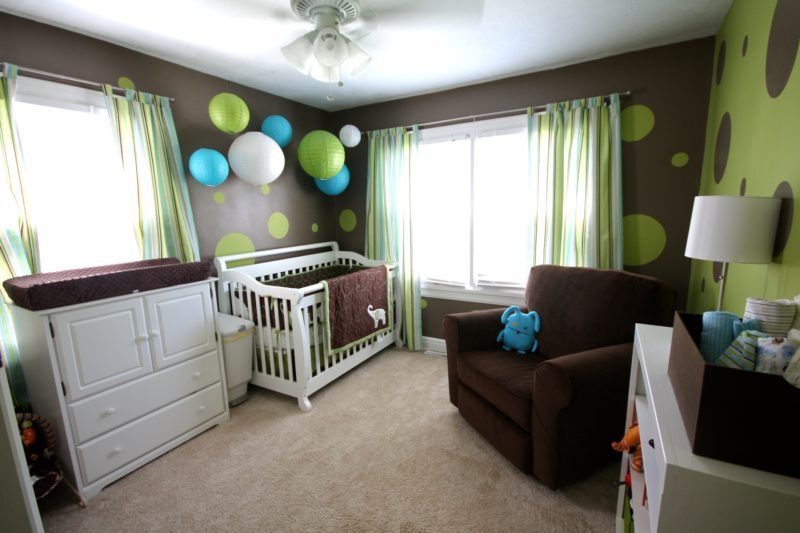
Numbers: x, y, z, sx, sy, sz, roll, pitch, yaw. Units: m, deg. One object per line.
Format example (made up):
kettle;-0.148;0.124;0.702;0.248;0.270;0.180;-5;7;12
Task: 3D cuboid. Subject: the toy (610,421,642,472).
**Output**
toy;1.355;1.063;3.129;0.224;0.209;0.098;-33;-31;26

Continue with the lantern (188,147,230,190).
lantern;-1.608;-0.825;4.468;0.435;0.264;0.438;13;25;42

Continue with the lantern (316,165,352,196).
lantern;-0.643;-0.806;5.350;0.306;0.376;0.318;1;-2;-3

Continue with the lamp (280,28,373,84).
lamp;-0.542;-1.497;3.828;0.582;0.308;0.540;-6;10;-16

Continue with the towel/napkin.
towel/napkin;-0.393;0.383;4.715;0.074;0.673;0.922;14;20;41

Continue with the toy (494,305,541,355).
toy;0.950;0.490;4.184;0.310;0.372;0.190;15;19;28

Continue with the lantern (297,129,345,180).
lantern;-0.702;-1.006;4.797;0.393;0.484;0.384;-4;4;44

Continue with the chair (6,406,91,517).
chair;-2.339;1.279;3.572;0.466;0.645;0.221;7;14;42

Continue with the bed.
bed;-0.725;0.417;5.114;1.063;1.258;1.655;5;13;31
